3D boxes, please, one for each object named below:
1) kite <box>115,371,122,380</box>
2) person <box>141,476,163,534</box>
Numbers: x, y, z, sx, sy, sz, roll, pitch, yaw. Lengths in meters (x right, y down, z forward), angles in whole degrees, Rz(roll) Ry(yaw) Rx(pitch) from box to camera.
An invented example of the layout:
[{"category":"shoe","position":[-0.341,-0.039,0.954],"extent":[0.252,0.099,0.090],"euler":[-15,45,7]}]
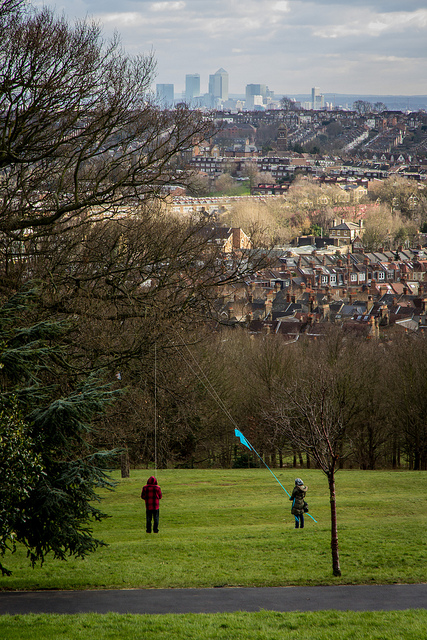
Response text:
[{"category":"kite","position":[-2.441,1.355,32.298],"extent":[0.152,0.245,0.094],"euler":[-24,-18,-23]},{"category":"person","position":[-1.354,3.888,27.572],"extent":[0.389,1.345,0.374],"euler":[-2,13,-10]}]
